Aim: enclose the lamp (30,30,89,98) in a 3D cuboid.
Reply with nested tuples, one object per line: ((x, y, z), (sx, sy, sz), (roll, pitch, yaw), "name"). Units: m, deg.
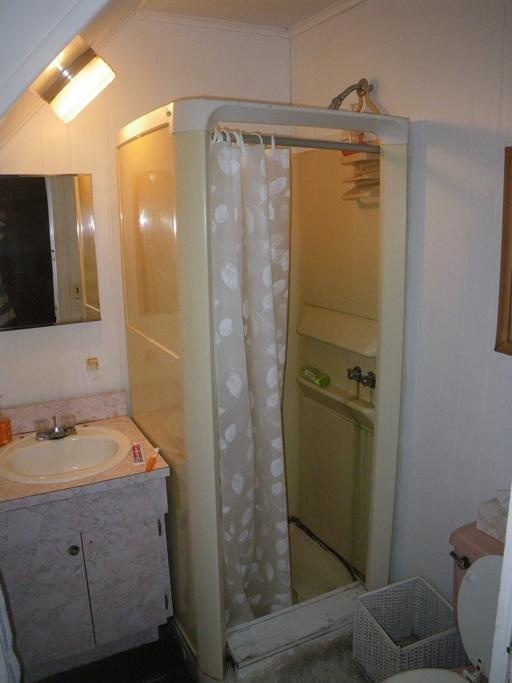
((-0.622, -0.847, 1.715), (0.187, 0.155, 0.171), (-4, 10, -3), "lamp")

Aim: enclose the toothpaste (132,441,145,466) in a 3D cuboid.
((-0.428, 0.405, 1.981), (0.032, 0.013, 0.111), (2, 26, -14), "toothpaste")
